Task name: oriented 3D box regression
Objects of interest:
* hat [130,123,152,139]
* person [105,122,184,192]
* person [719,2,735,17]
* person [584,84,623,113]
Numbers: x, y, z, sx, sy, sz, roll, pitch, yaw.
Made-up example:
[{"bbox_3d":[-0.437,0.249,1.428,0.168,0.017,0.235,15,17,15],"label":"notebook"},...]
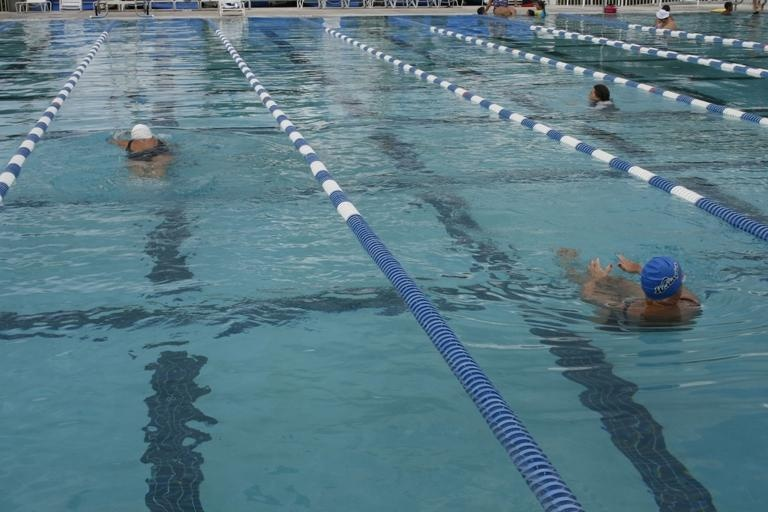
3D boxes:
[{"bbox_3d":[-2.000,-1.042,5.588,0.210,0.099,0.225,-6,15,-23],"label":"hat"},{"bbox_3d":[-1.938,-0.807,5.449,0.559,0.263,0.897,-12,30,-24],"label":"person"},{"bbox_3d":[8.287,-5.994,16.157,0.267,0.312,1.178,9,16,23],"label":"person"},{"bbox_3d":[2.444,-1.779,7.481,0.314,0.304,0.734,5,15,13],"label":"person"}]
